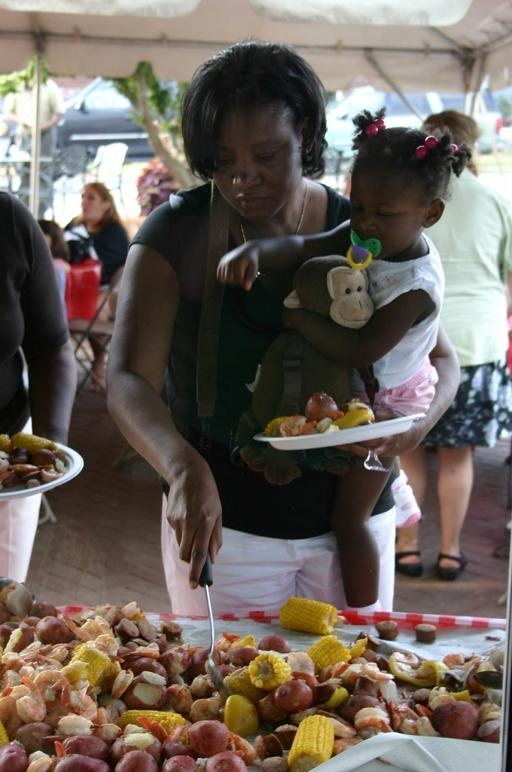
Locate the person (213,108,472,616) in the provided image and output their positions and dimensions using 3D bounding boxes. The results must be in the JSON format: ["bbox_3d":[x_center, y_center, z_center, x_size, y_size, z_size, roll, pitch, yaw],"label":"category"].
[{"bbox_3d":[0.130,-0.006,1.108,0.361,0.830,0.172,5,8,15],"label":"person"}]

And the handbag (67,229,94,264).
[{"bbox_3d":[-0.309,-0.250,1.210,0.052,0.062,0.026,9,24,20],"label":"handbag"}]

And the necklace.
[{"bbox_3d":[0.046,-0.257,1.037,0.104,0.094,0.024,-6,20,8],"label":"necklace"}]
